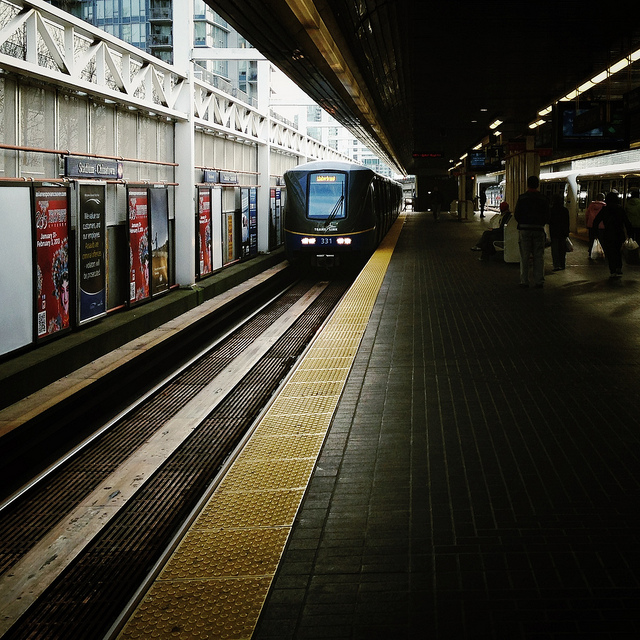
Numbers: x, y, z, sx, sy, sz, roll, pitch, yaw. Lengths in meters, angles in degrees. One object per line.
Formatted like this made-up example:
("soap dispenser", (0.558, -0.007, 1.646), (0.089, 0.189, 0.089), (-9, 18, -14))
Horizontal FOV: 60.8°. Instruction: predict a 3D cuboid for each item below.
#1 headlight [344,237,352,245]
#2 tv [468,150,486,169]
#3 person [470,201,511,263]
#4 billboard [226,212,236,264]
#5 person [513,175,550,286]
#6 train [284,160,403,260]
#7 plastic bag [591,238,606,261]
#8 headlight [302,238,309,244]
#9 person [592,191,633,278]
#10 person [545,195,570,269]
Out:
("headlight", (0.842, -2.388, 16.565), (0.219, 0.206, 0.043), (-1, 5, -9))
("tv", (8.872, -9.032, 30.753), (0.890, 1.202, 1.442), (1, 7, 17))
("person", (5.246, -2.426, 15.453), (0.513, 1.703, 0.879), (4, -16, -2))
("billboard", (-2.673, -2.404, 15.739), (0.091, 1.257, 1.036), (-2, 7, -22))
("person", (3.916, -1.701, 10.186), (0.727, 2.333, 0.664), (0, 1, 12))
("train", (1.088, -3.585, 18.127), (2.086, 3.016, 5.055), (3, 8, 34))
("plastic bag", (7.069, -1.784, 13.863), (0.318, 0.684, 0.313), (-12, 16, -19))
("headlight", (-0.451, -2.396, 16.494), (0.131, 0.176, 0.038), (3, -2, 7))
("person", (6.121, -1.763, 11.301), (0.635, 1.758, 0.694), (1, 5, 16))
("person", (5.401, -1.989, 12.407), (0.413, 1.679, 0.781), (2, 6, 29))
